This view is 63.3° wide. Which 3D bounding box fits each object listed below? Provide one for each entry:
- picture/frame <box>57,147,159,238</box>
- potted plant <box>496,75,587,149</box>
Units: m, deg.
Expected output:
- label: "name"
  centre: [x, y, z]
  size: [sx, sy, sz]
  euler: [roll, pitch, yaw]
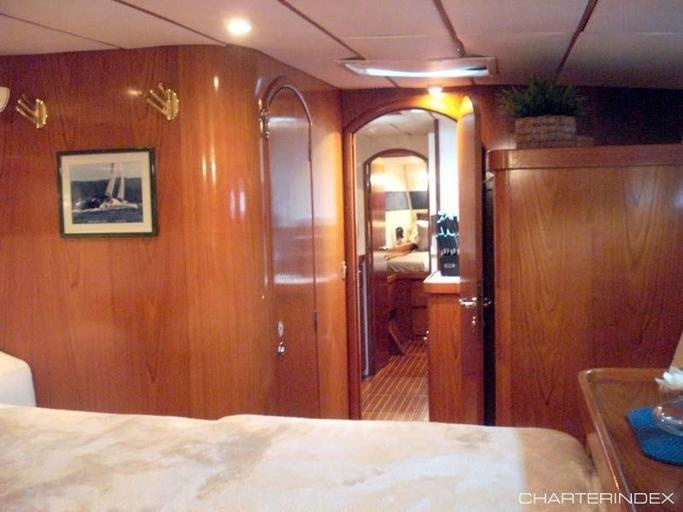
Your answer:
- label: "picture/frame"
  centre: [-1.280, -0.368, 3.094]
  size: [0.531, 0.431, 0.040]
  euler: [1, 7, 11]
- label: "potted plant"
  centre: [1.105, -0.768, 2.974]
  size: [0.391, 0.374, 0.453]
  euler: [0, 10, 12]
